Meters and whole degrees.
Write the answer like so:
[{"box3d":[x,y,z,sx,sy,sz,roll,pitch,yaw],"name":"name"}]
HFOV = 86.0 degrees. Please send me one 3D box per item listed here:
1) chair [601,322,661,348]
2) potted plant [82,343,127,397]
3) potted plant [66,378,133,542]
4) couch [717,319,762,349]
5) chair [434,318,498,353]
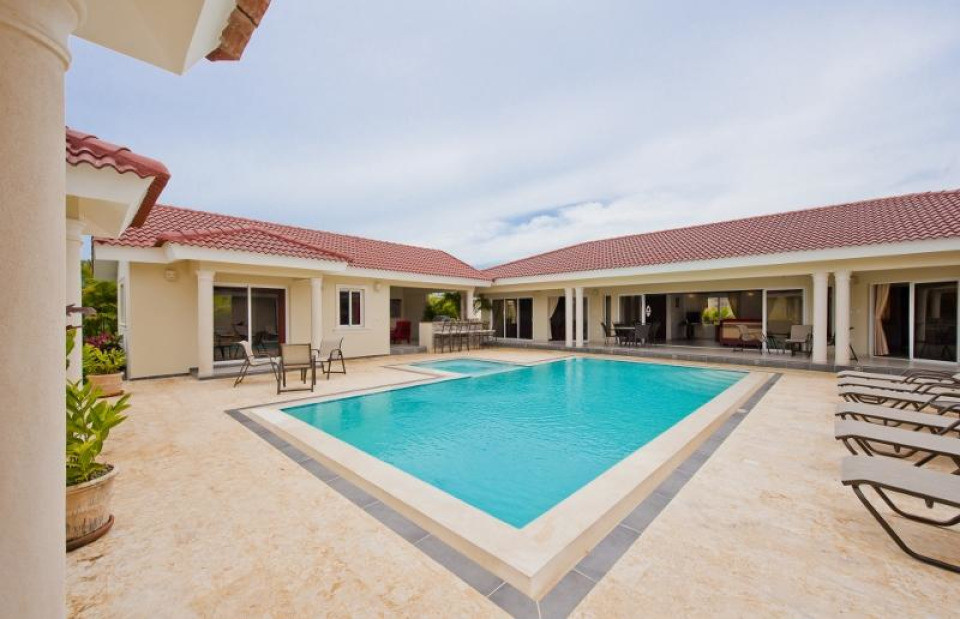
[{"box3d":[5.580,0.904,19.203,1.760,0.878,2.464,-5,-3,15],"name":"chair"},{"box3d":[-7.484,1.217,10.368,1.048,1.107,1.137,3,-3,-38],"name":"potted plant"},{"box3d":[-4.772,1.884,6.446,0.595,1.461,0.540,-4,-1,-34],"name":"potted plant"},{"box3d":[8.973,0.862,18.105,1.068,0.928,1.498,1,-2,-44],"name":"couch"},{"box3d":[-0.566,0.968,19.510,1.223,1.077,2.870,-5,-3,29],"name":"chair"}]
